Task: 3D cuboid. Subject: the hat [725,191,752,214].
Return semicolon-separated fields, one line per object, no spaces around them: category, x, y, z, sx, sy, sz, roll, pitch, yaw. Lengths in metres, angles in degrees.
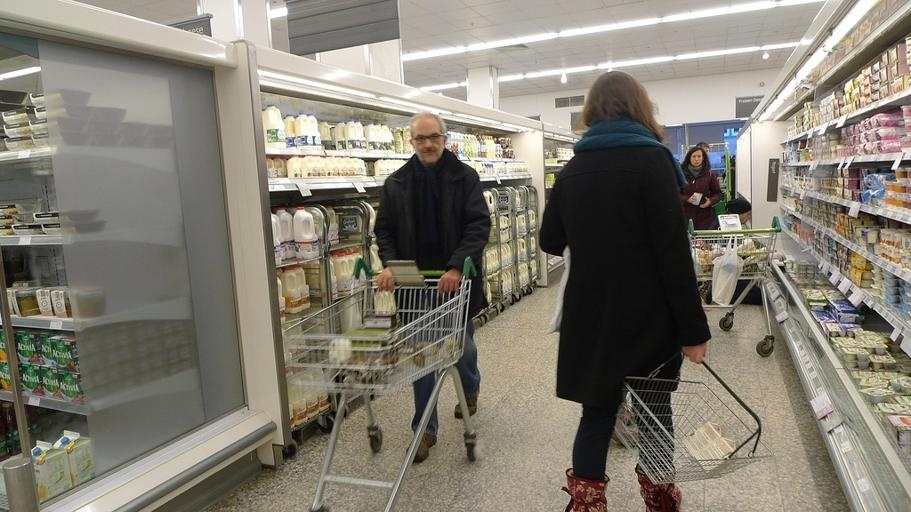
hat;4.989;-0.917;9.274;0.374;0.324;0.548;9;25;23

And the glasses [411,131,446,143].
glasses;-0.208;-0.920;4.096;0.274;0.072;0.150;-2;9;-4

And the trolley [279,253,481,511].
trolley;-0.456;0.925;3.801;1.238;1.770;1.260;-2;9;2

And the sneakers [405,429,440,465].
sneakers;-0.236;1.544;4.271;0.151;0.172;0.409;-1;-1;17

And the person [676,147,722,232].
person;3.835;-0.807;8.379;0.796;1.773;0.661;-1;25;23
